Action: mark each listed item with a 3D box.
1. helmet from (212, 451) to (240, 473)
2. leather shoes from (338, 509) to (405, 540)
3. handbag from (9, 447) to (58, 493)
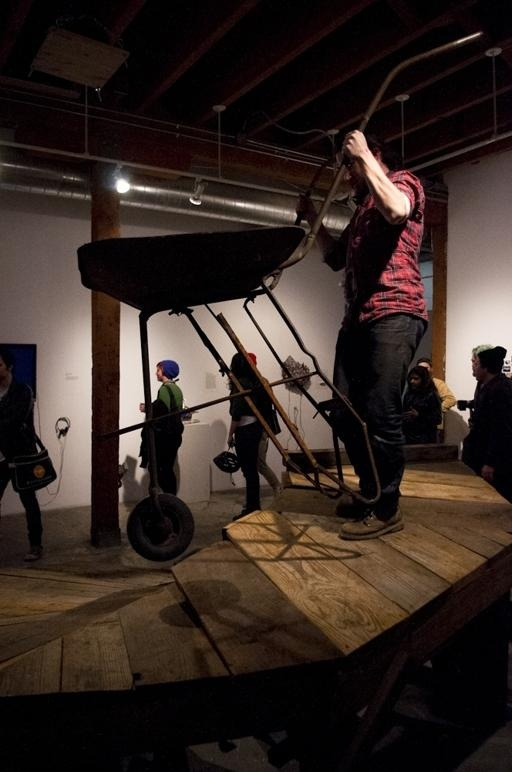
[{"bbox_3d":[-0.301,0.750,5.393,0.252,0.114,0.316,22,24,-25],"label":"helmet"},{"bbox_3d":[0.390,0.478,1.863,0.205,0.091,0.077,3,-14,-23],"label":"leather shoes"},{"bbox_3d":[-1.708,0.655,4.199,0.158,0.287,0.304,1,5,32],"label":"handbag"}]
